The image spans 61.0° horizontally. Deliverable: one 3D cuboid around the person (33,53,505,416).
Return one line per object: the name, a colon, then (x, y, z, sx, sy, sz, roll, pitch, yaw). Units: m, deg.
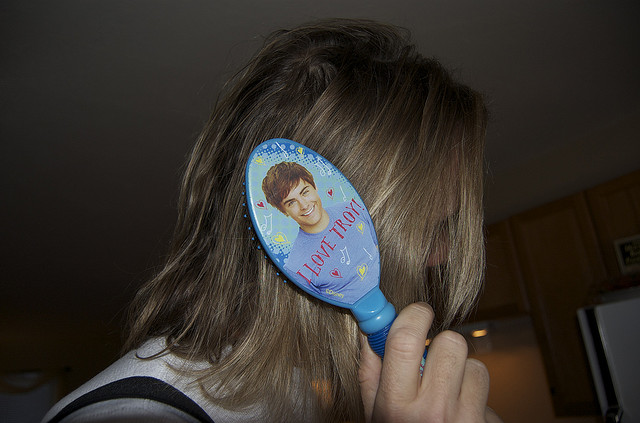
person: (-0.096, -0.017, 2.323, 1.156, 1.842, 0.419, 22, -10, -24)
